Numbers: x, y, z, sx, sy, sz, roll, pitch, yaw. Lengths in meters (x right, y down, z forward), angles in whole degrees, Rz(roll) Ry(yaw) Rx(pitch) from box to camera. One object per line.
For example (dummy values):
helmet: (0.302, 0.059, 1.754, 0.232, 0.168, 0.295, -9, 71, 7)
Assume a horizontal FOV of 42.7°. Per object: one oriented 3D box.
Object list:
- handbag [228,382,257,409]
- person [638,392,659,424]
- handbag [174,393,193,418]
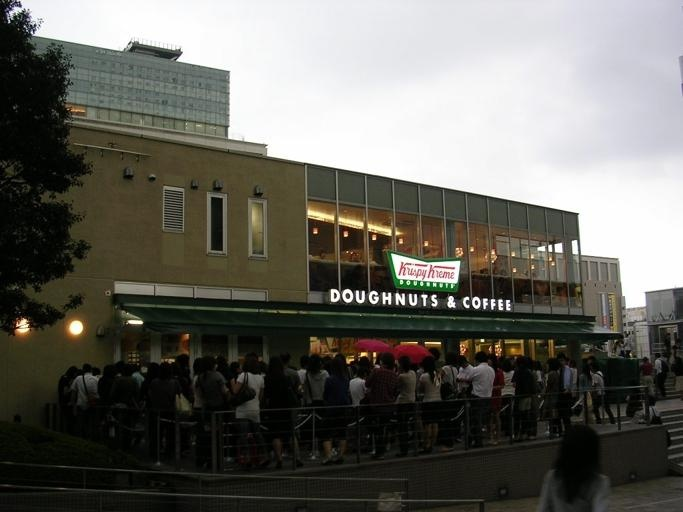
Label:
handbag: (-2.116, 3.012, 18.924, 0.405, 0.399, 0.207, -28, 21, 18)
person: (9.351, 4.628, 26.464, 0.542, 0.865, 1.867, -6, -11, 21)
handbag: (-3.577, 3.354, 19.807, 0.364, 0.549, 2.025, 0, -11, -10)
